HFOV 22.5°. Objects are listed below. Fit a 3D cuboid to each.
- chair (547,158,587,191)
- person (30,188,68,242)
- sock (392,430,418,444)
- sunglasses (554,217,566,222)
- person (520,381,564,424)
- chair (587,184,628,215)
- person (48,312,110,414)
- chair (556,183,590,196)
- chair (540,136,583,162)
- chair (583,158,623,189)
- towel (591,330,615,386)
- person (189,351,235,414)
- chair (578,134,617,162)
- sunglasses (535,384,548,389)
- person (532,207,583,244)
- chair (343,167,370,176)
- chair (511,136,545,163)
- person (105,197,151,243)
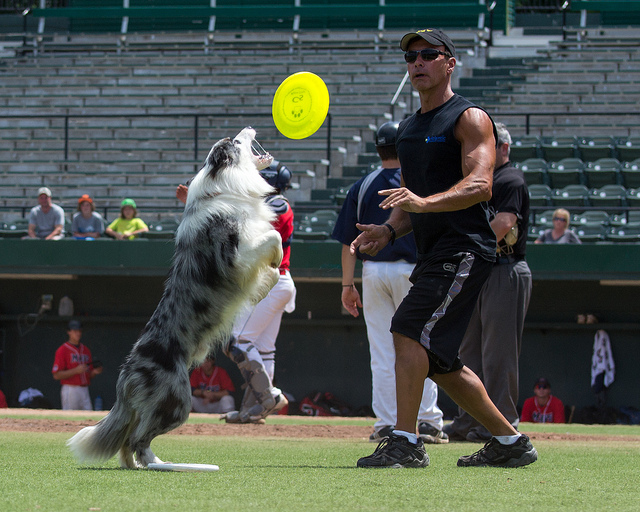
[{"bbox_3d":[5.036,-1.713,32.974,0.639,0.668,0.664,3,15,12],"label":"chair"},{"bbox_3d":[-5.159,-0.804,30.567,0.657,0.955,1.574,1,-1,-10],"label":"person"},{"bbox_3d":[1.239,2.612,23.458,0.398,0.158,0.139,24,6,0],"label":"sock"},{"bbox_3d":[4.302,-0.671,29.005,0.181,0.080,0.063,0,-1,10],"label":"sunglasses"},{"bbox_3d":[3.952,2.723,28.850,0.830,1.060,0.578,1,-2,-2],"label":"person"},{"bbox_3d":[5.676,-1.210,31.890,0.670,0.669,0.671,4,37,9],"label":"chair"},{"bbox_3d":[-4.389,2.385,29.600,1.046,2.263,0.860,-4,-1,-21],"label":"person"},{"bbox_3d":[5.040,-1.326,32.100,0.473,0.152,0.314,3,7,1],"label":"chair"},{"bbox_3d":[5.030,-2.324,33.716,0.669,0.610,0.775,3,-37,12],"label":"chair"},{"bbox_3d":[5.720,-1.715,32.646,0.624,0.639,0.668,2,14,10],"label":"chair"},{"bbox_3d":[5.132,1.845,29.333,0.414,1.005,0.132,1,-1,6],"label":"towel"},{"bbox_3d":[-2.042,2.344,29.593,1.017,1.181,0.750,-1,7,3],"label":"person"},{"bbox_3d":[5.835,-2.247,33.840,0.656,0.515,0.605,1,-25,15],"label":"chair"},{"bbox_3d":[3.945,2.332,28.819,0.136,0.084,0.209,3,-1,10],"label":"sunglasses"},{"bbox_3d":[4.388,-0.527,29.206,1.006,0.656,0.418,6,3,34],"label":"person"},{"bbox_3d":[0.827,-1.836,34.372,0.398,0.203,0.716,1,-1,-29],"label":"chair"},{"bbox_3d":[4.290,-2.290,33.964,0.632,0.717,0.632,-3,-4,17],"label":"chair"},{"bbox_3d":[-3.691,-0.539,30.858,0.835,1.094,0.578,-2,-6,2],"label":"person"}]
